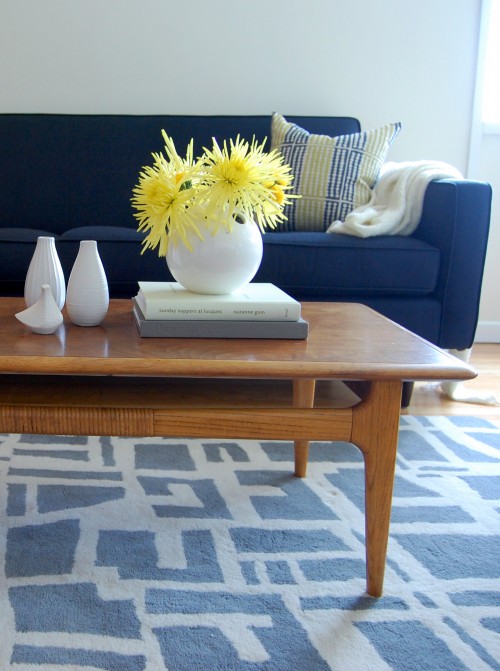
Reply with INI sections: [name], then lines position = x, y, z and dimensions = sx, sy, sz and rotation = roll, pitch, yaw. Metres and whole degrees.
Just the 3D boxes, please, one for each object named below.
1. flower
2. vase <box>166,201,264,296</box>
[flower]
position = -0.066, -0.233, 0.918
dimensions = 0.249, 0.202, 0.186
rotation = 1, 8, -6
[vase]
position = -0.059, -0.139, 0.961
dimensions = 0.178, 0.135, 0.157
rotation = 9, 20, 35
